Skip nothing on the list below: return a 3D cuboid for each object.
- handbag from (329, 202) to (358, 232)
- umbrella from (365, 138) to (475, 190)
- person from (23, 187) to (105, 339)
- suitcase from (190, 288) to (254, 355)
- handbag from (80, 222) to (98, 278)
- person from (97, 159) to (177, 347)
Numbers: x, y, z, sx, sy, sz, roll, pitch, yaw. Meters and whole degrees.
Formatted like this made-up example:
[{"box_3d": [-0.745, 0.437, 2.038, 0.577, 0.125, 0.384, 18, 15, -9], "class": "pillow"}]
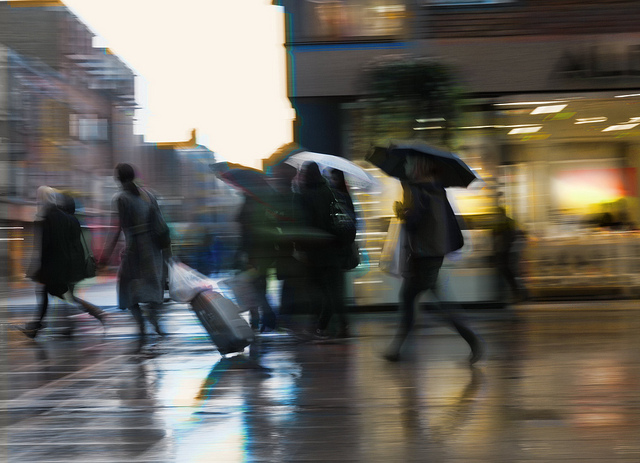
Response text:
[{"box_3d": [0.206, -0.143, 9.984, 0.280, 0.295, 0.072, -4, 0, -35], "class": "handbag"}, {"box_3d": [1.083, -0.705, 9.485, 0.836, 0.211, 0.710, 19, -18, 2], "class": "umbrella"}, {"box_3d": [-2.824, 0.339, 10.651, 0.793, 1.639, 0.533, -5, 0, -14], "class": "person"}, {"box_3d": [-0.936, 0.856, 9.433, 0.547, 0.629, 0.161, -4, 0, -2], "class": "suitcase"}, {"box_3d": [-2.522, 0.274, 10.749, 0.126, 0.548, 0.300, -10, -13, -25], "class": "handbag"}, {"box_3d": [-1.853, 0.025, 9.975, 0.775, 1.783, 0.198, -5, 0, -8], "class": "person"}]
